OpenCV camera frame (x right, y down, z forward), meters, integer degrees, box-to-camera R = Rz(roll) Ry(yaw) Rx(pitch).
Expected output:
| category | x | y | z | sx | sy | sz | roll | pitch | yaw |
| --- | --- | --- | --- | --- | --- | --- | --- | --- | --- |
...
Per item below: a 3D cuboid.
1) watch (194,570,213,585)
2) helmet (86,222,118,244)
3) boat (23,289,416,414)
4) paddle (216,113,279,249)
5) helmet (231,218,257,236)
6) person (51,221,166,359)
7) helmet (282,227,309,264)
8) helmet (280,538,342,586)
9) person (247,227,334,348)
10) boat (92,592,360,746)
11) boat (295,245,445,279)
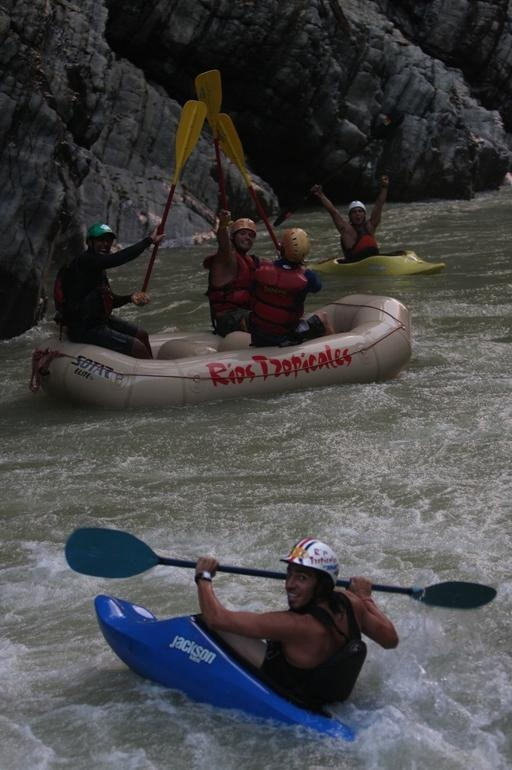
| category | x | y | z | sx | sy | sz | roll | pitch | yaw |
| --- | --- | --- | --- | --- | --- | --- | --- | --- | --- |
| watch | -0.169 | 0.656 | 2.526 | 0.058 | 0.032 | 0.050 | -1 | -22 | -8 |
| helmet | -1.165 | -1.132 | 5.469 | 0.163 | 0.102 | 0.213 | -5 | 0 | -35 |
| boat | -0.180 | -0.191 | 6.124 | 2.825 | 0.672 | 1.245 | -3 | 6 | -16 |
| paddle | -0.061 | -2.412 | 9.216 | 0.321 | 0.106 | 2.493 | 25 | -14 | 26 |
| helmet | -0.101 | -1.358 | 6.471 | 0.177 | 0.171 | 0.227 | 0 | 20 | -12 |
| person | -1.096 | -0.696 | 5.745 | 0.724 | 1.011 | 0.658 | 15 | 14 | 34 |
| helmet | 0.296 | -1.073 | 5.762 | 0.207 | 0.273 | 0.241 | 7 | 11 | 1 |
| helmet | 0.182 | 0.557 | 2.351 | 0.182 | 0.130 | 0.129 | 4 | -3 | -19 |
| person | 0.228 | -0.739 | 5.831 | 0.518 | 0.948 | 0.271 | 6 | 12 | -2 |
| boat | -0.198 | 0.919 | 2.592 | 1.055 | 0.298 | 0.309 | 19 | -7 | 28 |
| boat | 1.627 | -1.750 | 11.294 | 2.334 | 0.365 | 0.714 | -1 | 6 | 24 |
